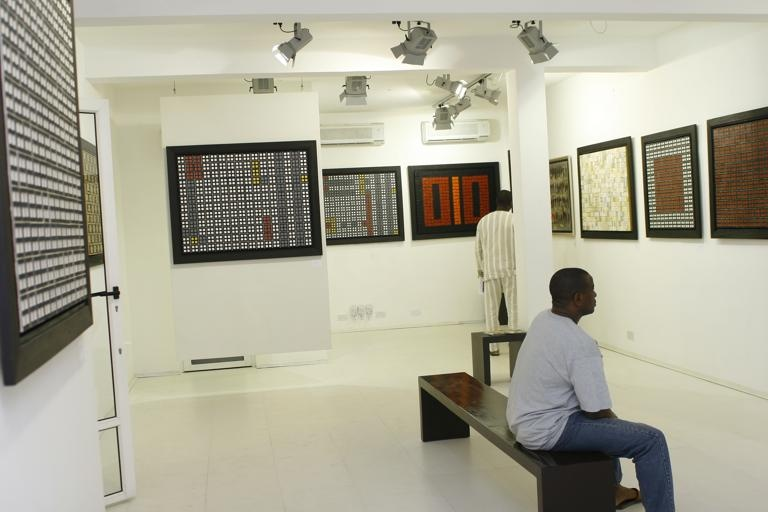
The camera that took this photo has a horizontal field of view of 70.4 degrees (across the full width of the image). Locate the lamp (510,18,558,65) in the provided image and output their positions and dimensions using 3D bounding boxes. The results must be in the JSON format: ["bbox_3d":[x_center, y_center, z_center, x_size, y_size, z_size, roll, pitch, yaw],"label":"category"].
[{"bbox_3d":[1.491,-1.980,5.104,0.208,0.342,0.161,-2,-25,25],"label":"lamp"}]

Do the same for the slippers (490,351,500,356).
[{"bbox_3d":[1.432,1.251,6.996,0.119,0.059,0.164,0,-4,-3],"label":"slippers"}]

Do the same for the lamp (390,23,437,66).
[{"bbox_3d":[0.203,-2.020,5.074,0.354,0.405,0.280,-15,11,-18],"label":"lamp"}]

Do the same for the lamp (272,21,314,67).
[{"bbox_3d":[-0.816,-1.946,4.927,0.323,0.261,0.430,-10,-37,-18],"label":"lamp"}]

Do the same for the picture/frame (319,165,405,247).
[{"bbox_3d":[-0.403,-0.817,8.638,1.339,1.332,0.102,-1,1,-12],"label":"picture/frame"}]

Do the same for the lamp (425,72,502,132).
[{"bbox_3d":[1.080,-2.140,7.558,0.718,0.295,0.738,-14,-3,-41],"label":"lamp"}]

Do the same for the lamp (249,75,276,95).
[{"bbox_3d":[-1.440,-2.025,6.462,0.383,0.261,0.204,0,2,-5],"label":"lamp"}]
